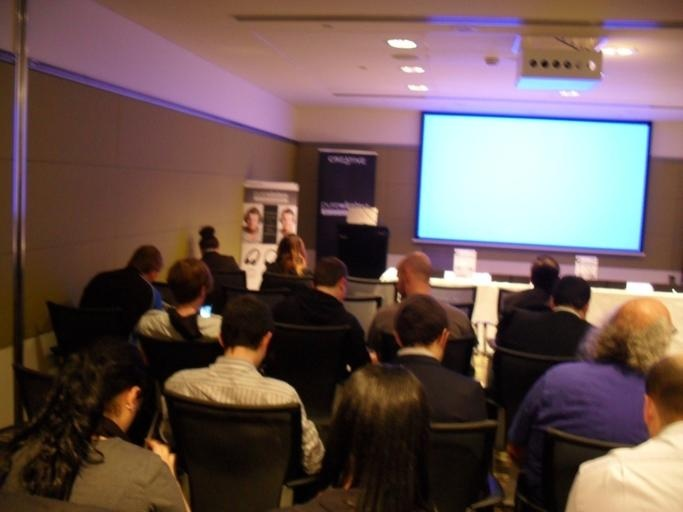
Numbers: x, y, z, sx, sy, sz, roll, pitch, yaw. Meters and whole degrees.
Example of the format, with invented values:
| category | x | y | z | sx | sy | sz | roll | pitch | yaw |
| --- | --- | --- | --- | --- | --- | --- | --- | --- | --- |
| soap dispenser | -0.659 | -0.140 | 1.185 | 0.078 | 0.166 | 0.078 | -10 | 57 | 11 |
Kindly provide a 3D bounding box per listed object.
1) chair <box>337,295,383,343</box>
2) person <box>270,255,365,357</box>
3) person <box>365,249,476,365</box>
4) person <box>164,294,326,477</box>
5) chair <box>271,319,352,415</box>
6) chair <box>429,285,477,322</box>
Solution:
| category | x | y | z | sx | sy | sz | roll | pitch | yaw |
| --- | --- | --- | --- | --- | --- | --- | --- | --- | --- |
| chair | 0.165 | 0.467 | 4.343 | 0.245 | 0.501 | 0.291 | 2 | 11 | 6 |
| person | -0.168 | 0.340 | 3.740 | 0.345 | 0.834 | 0.326 | 7 | 42 | 7 |
| person | 0.549 | 0.336 | 3.907 | 0.746 | 0.834 | 0.438 | -3 | 18 | -7 |
| person | -0.454 | 0.601 | 2.593 | 0.515 | 0.896 | 0.490 | 6 | 24 | 10 |
| chair | -0.156 | 0.591 | 3.409 | 0.378 | 0.744 | 0.478 | 3 | 19 | 5 |
| chair | 0.897 | 0.320 | 4.481 | 0.312 | 0.363 | 0.252 | 2 | 6 | 10 |
